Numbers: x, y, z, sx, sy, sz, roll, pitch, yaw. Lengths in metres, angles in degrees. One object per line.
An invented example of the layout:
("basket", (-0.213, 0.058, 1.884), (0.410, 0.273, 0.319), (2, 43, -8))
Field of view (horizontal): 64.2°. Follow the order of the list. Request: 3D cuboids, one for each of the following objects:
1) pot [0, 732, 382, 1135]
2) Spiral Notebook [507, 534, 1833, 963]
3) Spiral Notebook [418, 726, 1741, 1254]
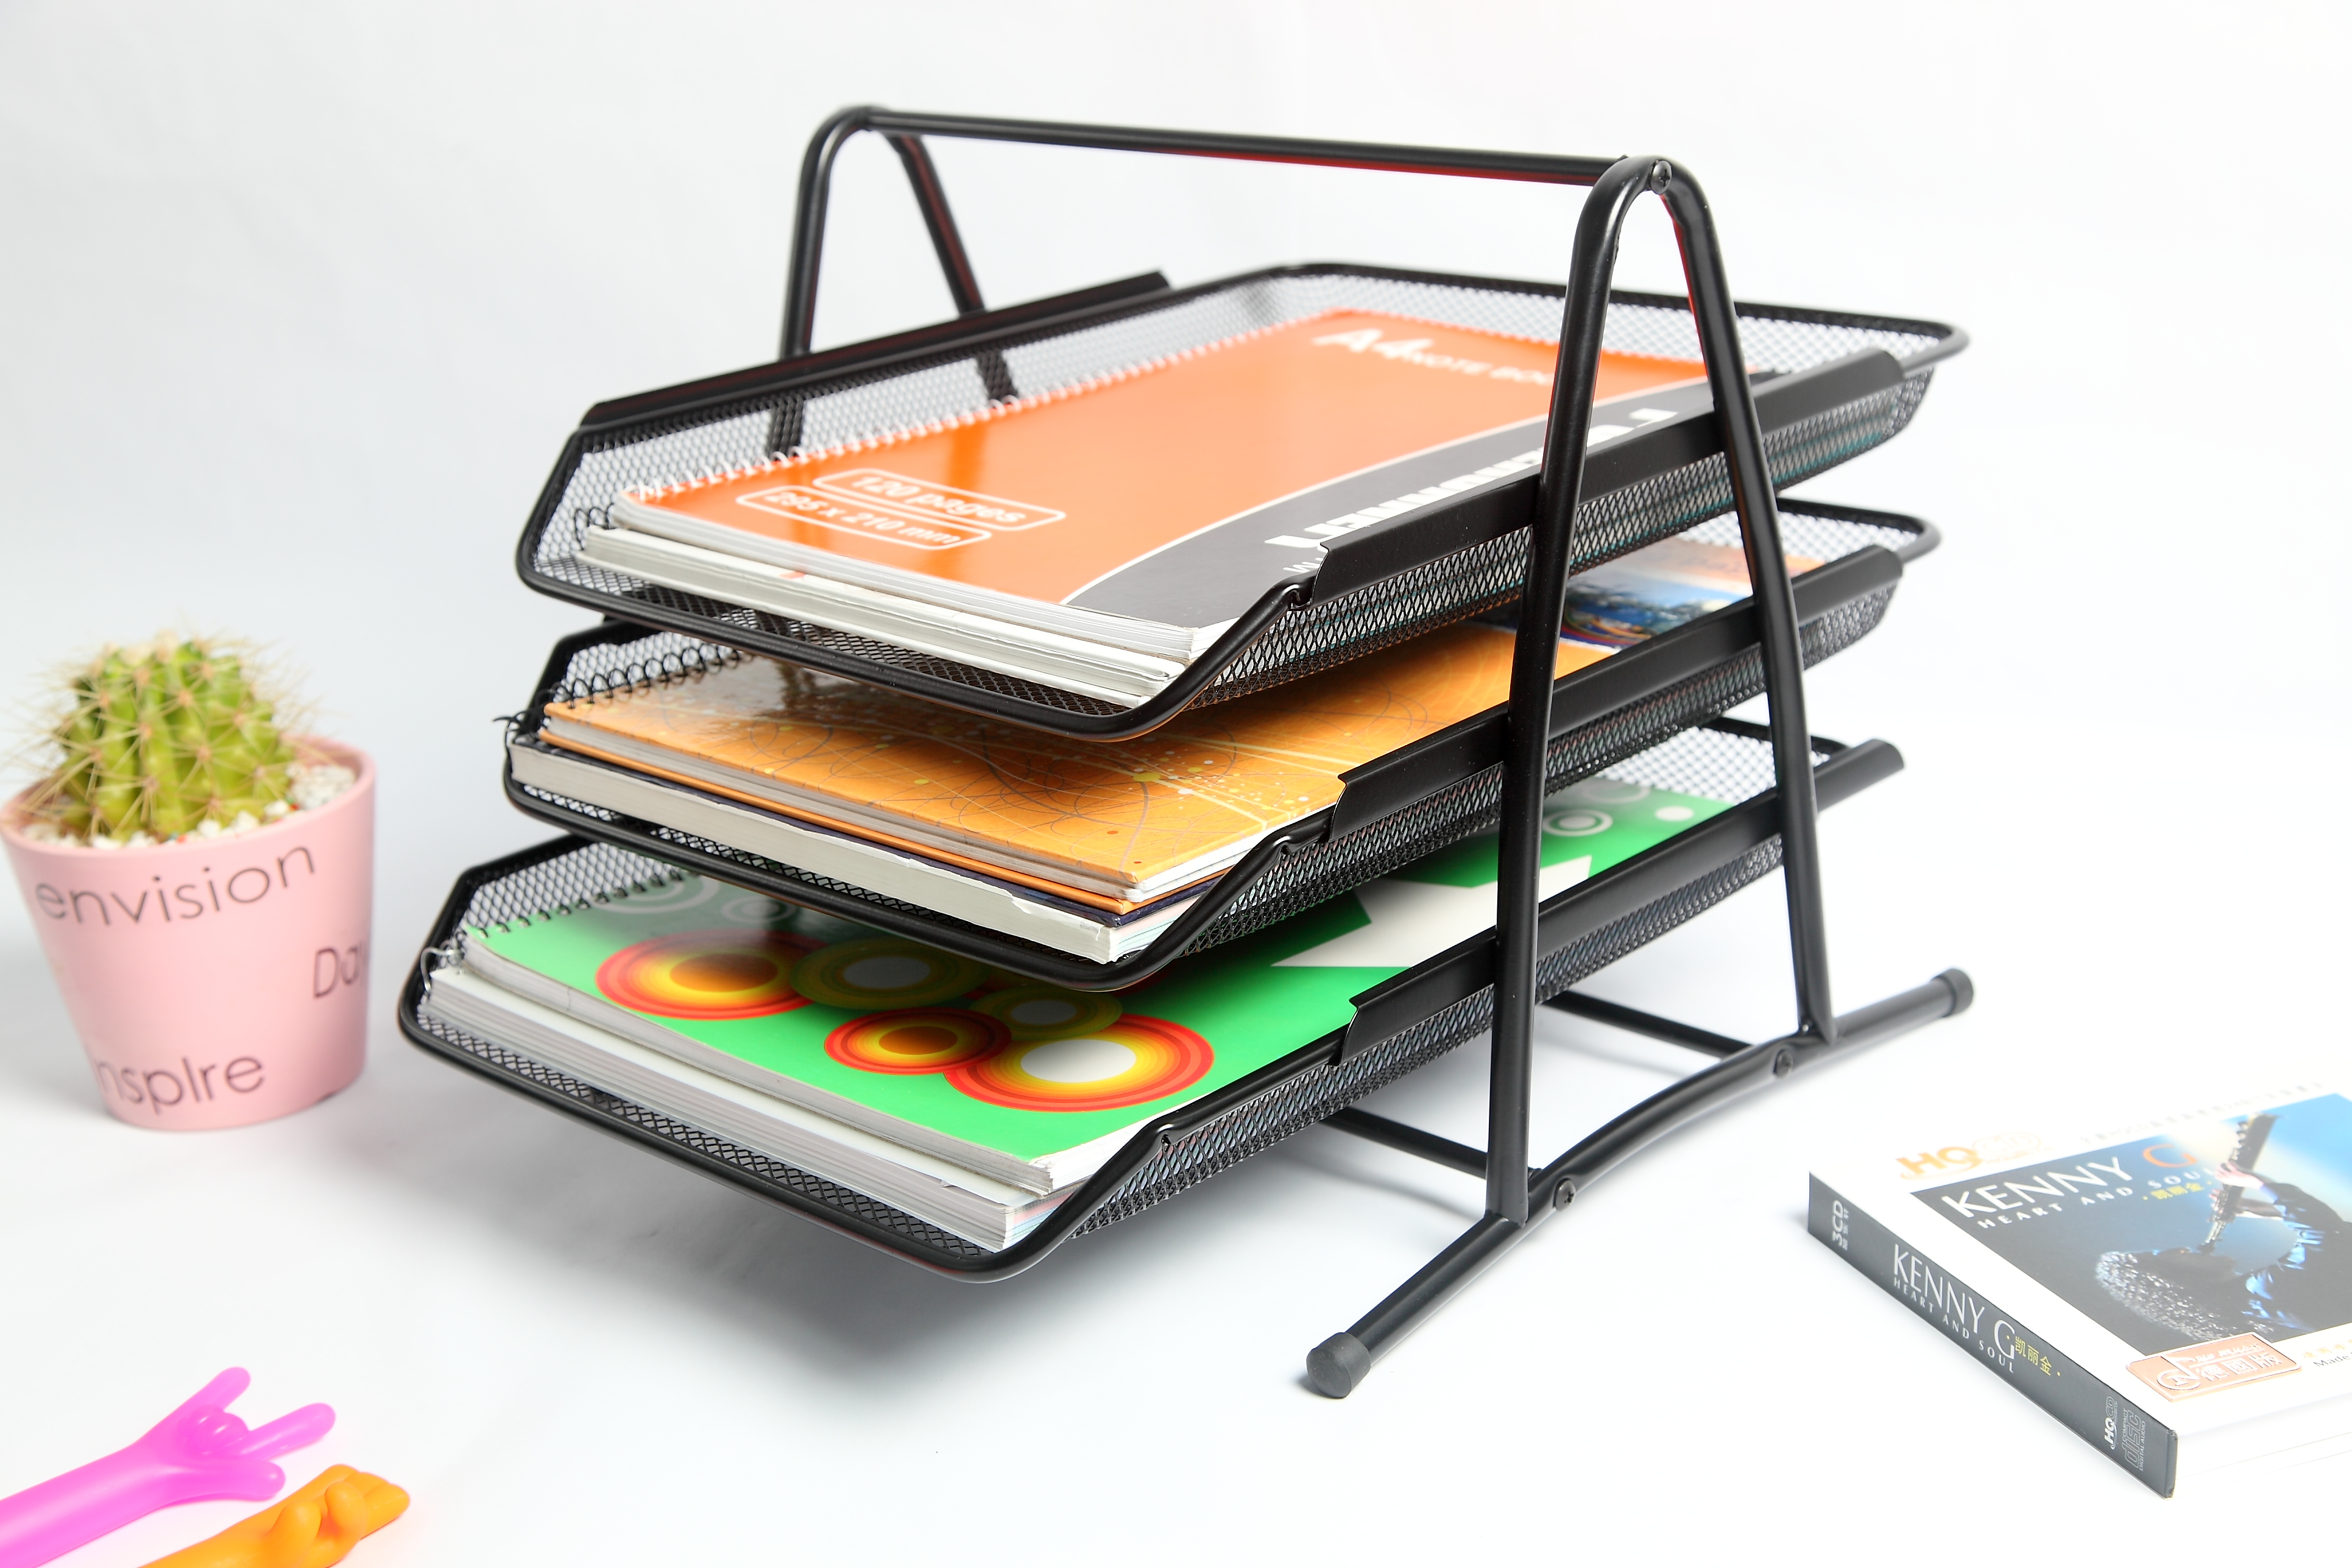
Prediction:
("pot", (-0.581, 0.108, 1.147), (0.198, 0.199, 0.092), (-7, 32, -20))
("Spiral Notebook", (-0.069, -0.041, 1.066), (0.447, 0.080, 0.391), (19, 29, 31))
("Spiral Notebook", (-0.055, 0.056, 1.024), (0.463, 0.042, 0.292), (-19, 18, -38))
